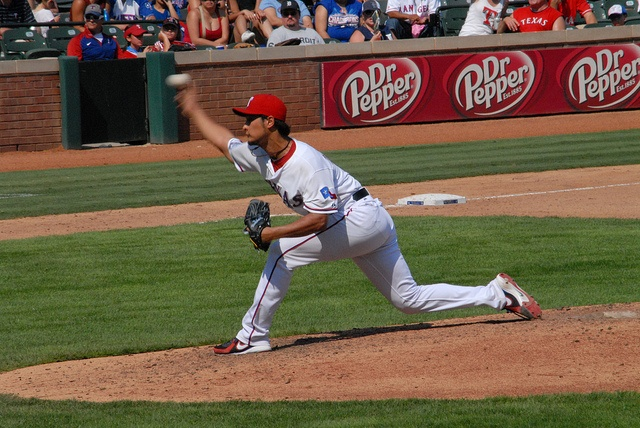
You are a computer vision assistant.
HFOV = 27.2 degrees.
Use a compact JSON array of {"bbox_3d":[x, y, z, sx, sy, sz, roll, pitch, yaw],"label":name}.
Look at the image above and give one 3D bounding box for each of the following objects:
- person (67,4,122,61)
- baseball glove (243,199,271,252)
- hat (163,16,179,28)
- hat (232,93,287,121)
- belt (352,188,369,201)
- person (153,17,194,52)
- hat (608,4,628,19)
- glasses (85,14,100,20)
[{"bbox_3d":[-4.841,-3.827,28.106,1.517,1.459,0.830,0,0,-23],"label":"person"},{"bbox_3d":[-0.849,0.136,18.029,0.297,0.618,0.458,-10,-9,15],"label":"baseball glove"},{"bbox_3d":[-3.192,-4.086,28.244,0.347,0.205,0.329,-4,9,-13],"label":"hat"},{"bbox_3d":[-0.818,-1.446,17.892,0.552,0.280,0.361,1,3,-8],"label":"hat"},{"bbox_3d":[0.526,-0.279,18.001,0.174,0.123,0.174,-33,0,5],"label":"belt"},{"bbox_3d":[-3.206,-3.895,28.434,0.659,0.458,0.893,-6,27,-1],"label":"person"},{"bbox_3d":[6.808,-4.666,30.426,0.288,0.241,0.466,-6,7,23],"label":"hat"},{"bbox_3d":[-4.760,-4.081,27.437,0.309,0.133,0.201,-1,9,6],"label":"glasses"}]
